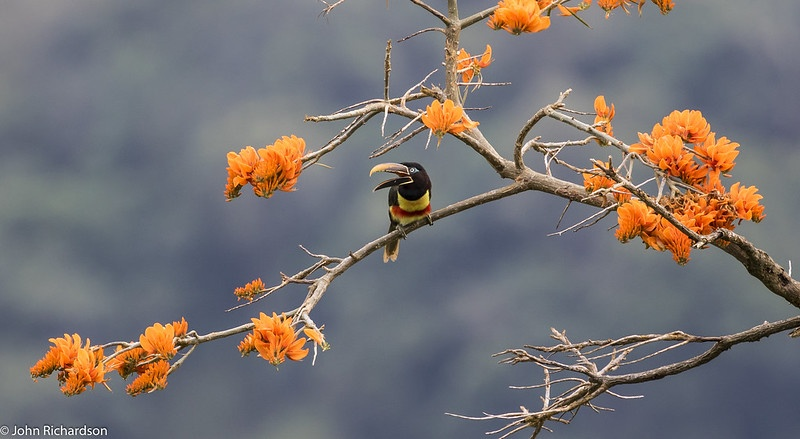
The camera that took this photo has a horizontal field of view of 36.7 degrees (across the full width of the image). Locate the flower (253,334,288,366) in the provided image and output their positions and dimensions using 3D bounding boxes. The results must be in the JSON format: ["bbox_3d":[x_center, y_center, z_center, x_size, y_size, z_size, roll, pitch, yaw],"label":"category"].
[{"bbox_3d":[-1.375,1.379,13.022,0.324,0.338,0.253,-14,-11,40],"label":"flower"}]

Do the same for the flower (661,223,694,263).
[{"bbox_3d":[3.004,0.217,13.028,0.314,0.429,0.232,-20,-11,2],"label":"flower"}]

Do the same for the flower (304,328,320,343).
[{"bbox_3d":[-0.952,1.232,13.098,0.171,0.173,0.129,-6,-8,-8],"label":"flower"}]

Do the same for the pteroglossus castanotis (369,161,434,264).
[{"bbox_3d":[0.010,-0.194,15.034,0.698,0.647,1.317,-7,-27,-16],"label":"pteroglossus castanotis"}]

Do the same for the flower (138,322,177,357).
[{"bbox_3d":[-2.685,1.319,13.286,0.406,0.382,0.315,-6,-9,-12],"label":"flower"}]

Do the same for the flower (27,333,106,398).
[{"bbox_3d":[-3.650,1.570,13.311,0.696,0.665,0.604,-13,-10,36],"label":"flower"}]
